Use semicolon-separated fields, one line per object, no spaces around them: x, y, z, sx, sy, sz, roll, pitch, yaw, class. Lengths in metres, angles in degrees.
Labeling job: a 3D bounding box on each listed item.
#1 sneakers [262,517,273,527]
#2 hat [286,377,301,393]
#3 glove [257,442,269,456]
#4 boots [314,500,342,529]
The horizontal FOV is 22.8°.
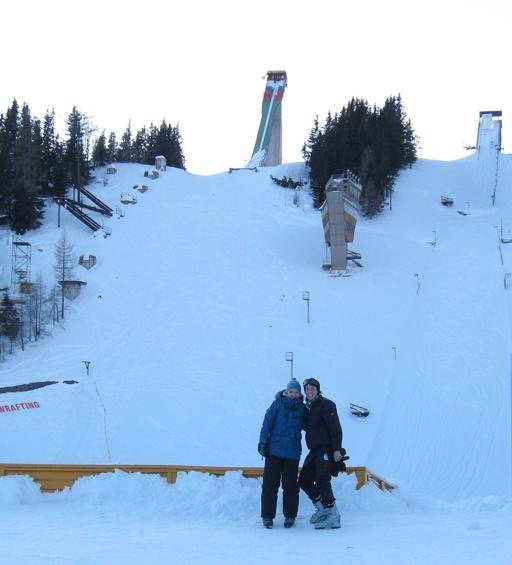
0.268;5.848;30.903;0.260;0.215;0.184;1;13;2;sneakers
0.932;2.534;31.500;0.225;0.319;0.365;1;-16;1;hat
0.166;4.108;31.210;0.191;0.339;0.290;-3;6;0;glove
1.763;5.727;30.826;0.755;0.859;0.348;2;-6;1;boots
